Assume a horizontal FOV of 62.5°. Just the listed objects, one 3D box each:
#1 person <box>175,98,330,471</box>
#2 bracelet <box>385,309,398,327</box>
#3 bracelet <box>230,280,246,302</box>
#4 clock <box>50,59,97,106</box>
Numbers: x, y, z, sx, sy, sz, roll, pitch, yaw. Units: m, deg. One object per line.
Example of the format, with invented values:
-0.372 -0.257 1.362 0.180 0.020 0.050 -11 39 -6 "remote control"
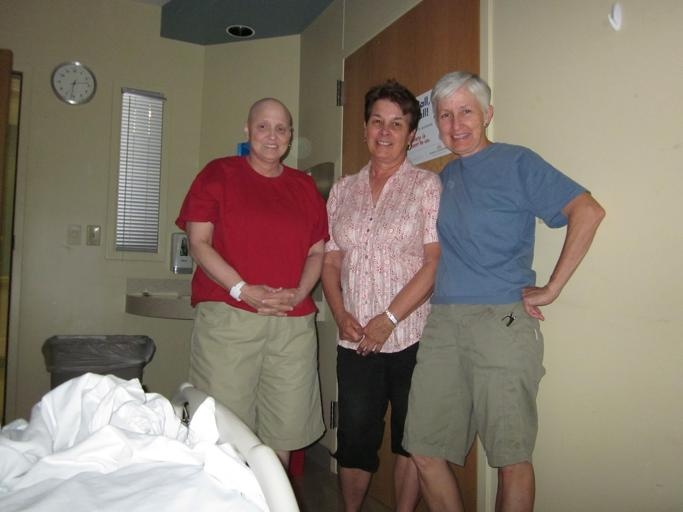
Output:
-0.345 0.096 2.303 0.628 1.497 0.343 0 4 -18 "person"
0.192 0.239 2.166 0.033 0.068 0.016 -34 1 2 "bracelet"
-0.399 0.131 2.150 0.028 0.059 0.072 8 35 12 "bracelet"
-1.831 -1.188 3.875 0.285 0.307 0.070 -11 -3 -12 "clock"
